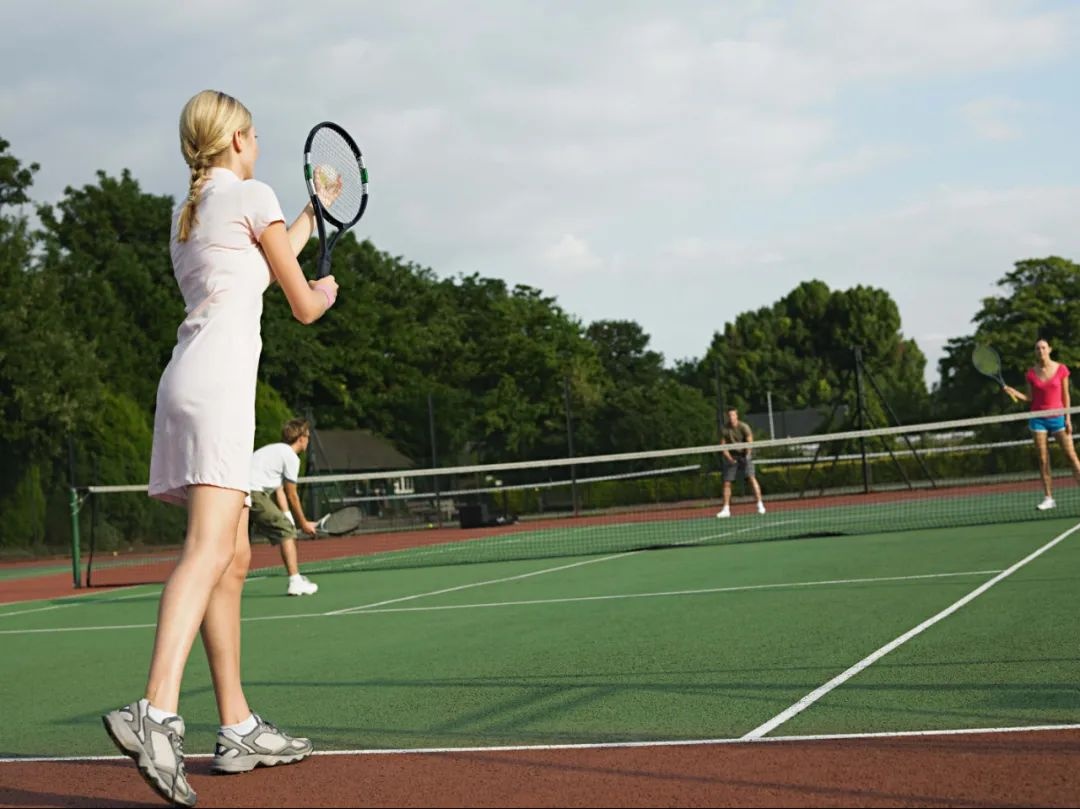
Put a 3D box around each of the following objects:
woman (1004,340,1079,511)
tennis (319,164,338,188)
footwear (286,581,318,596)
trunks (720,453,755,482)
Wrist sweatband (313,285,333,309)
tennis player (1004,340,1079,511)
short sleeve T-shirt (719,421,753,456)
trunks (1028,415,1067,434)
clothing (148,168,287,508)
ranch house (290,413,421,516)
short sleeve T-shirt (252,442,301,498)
[{"bbox_3d":[5.683,0.174,13.046,0.635,2.037,3.119,-4,-4,23],"label":"woman"},{"bbox_3d":[-1.009,-1.091,5.502,0.053,0.096,0.117,-14,13,12],"label":"tennis"},{"bbox_3d":[-2.147,1.671,10.551,0.299,0.161,0.121,1,-2,-34],"label":"footwear"},{"bbox_3d":[3.143,0.985,18.313,0.561,0.588,0.233,-5,-42,9],"label":"trunks"},{"bbox_3d":[-0.904,-0.460,4.941,0.071,0.116,0.107,-5,1,0],"label":"Wrist sweatband"},{"bbox_3d":[5.717,0.175,13.084,0.624,2.037,3.224,-4,-4,25],"label":"tennis player"},{"bbox_3d":[2.896,0.505,17.103,0.397,0.509,0.250,-7,-18,10],"label":"short sleeve T-shirt"},{"bbox_3d":[5.516,0.226,12.556,0.354,0.185,0.507,-6,-5,24],"label":"trunks"},{"bbox_3d":[-1.339,-0.319,4.779,0.574,1.354,0.253,-2,-3,-11],"label":"clothing"},{"bbox_3d":[-4.640,1.324,29.055,2.484,2.257,2.687,-6,-4,24],"label":"ranch house"},{"bbox_3d":[-2.361,0.593,10.386,0.400,0.441,0.250,-20,-30,-1],"label":"short sleeve T-shirt"}]
